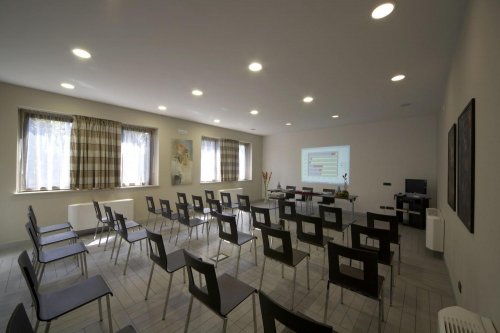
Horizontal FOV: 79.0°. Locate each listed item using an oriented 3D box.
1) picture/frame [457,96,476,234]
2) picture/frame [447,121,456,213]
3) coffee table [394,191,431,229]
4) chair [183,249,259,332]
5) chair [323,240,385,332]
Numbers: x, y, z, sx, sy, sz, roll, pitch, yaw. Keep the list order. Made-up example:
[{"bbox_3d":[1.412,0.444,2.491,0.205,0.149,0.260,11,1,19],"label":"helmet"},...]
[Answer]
[{"bbox_3d":[3.399,0.037,4.881,0.057,1.819,1.741,0,2,26],"label":"picture/frame"},{"bbox_3d":[3.482,0.004,5.225,0.140,1.438,0.812,-1,0,32],"label":"picture/frame"},{"bbox_3d":[4.046,1.073,7.480,0.326,0.860,0.868,2,-3,-14],"label":"coffee table"},{"bbox_3d":[-0.469,1.799,4.324,1.031,1.044,0.719,-1,0,36],"label":"chair"},{"bbox_3d":[1.559,1.765,4.555,0.891,1.381,0.715,-1,0,17],"label":"chair"}]
